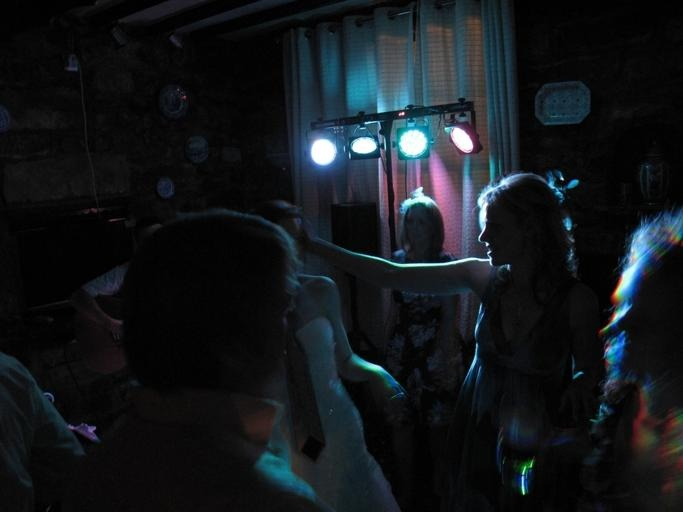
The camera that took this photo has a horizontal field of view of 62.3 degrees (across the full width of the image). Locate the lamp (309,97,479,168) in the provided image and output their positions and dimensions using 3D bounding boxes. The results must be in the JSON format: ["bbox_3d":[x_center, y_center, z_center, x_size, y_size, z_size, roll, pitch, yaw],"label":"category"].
[{"bbox_3d":[0.396,-1.005,4.646,1.408,0.453,0.204,-2,27,20],"label":"lamp"}]

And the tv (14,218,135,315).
[{"bbox_3d":[-2.005,0.057,4.142,0.882,0.598,0.174,-20,17,-37],"label":"tv"}]
